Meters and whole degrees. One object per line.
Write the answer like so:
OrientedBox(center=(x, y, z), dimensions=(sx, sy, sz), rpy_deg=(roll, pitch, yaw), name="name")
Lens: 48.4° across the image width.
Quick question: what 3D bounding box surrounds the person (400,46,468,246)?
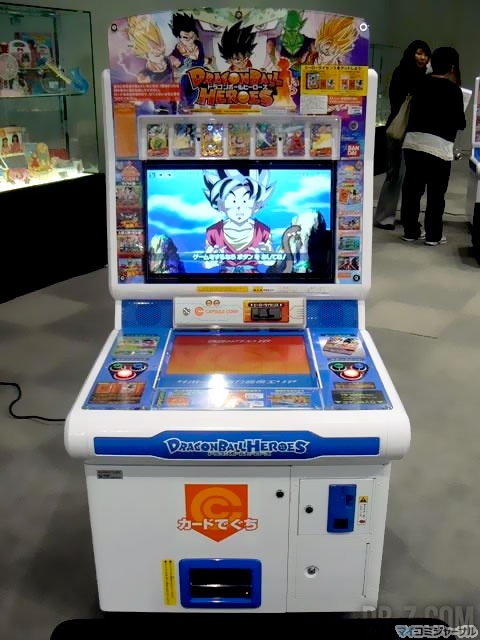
OrientedBox(center=(1.818, -1.601, 5.074), dimensions=(0.529, 1.764, 0.416), rpy_deg=(6, 25, 15), name="person")
